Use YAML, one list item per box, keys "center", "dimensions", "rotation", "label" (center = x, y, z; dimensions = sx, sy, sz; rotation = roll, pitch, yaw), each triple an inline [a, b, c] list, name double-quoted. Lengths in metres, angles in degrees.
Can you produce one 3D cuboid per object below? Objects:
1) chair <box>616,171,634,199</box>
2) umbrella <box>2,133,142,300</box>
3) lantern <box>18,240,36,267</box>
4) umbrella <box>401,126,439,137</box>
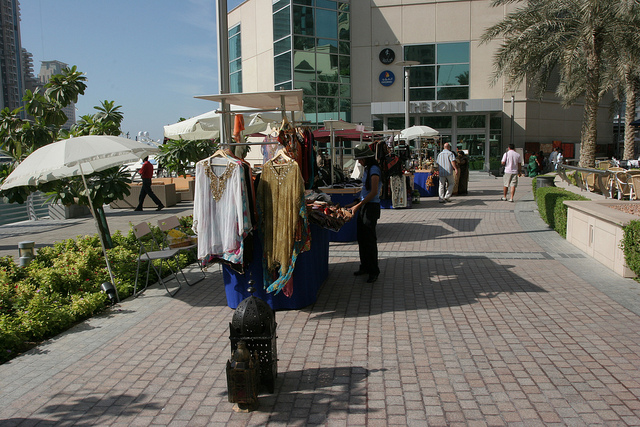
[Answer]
- center: [9.075, -0.797, 14.782]
  dimensions: [0.491, 0.821, 1.132]
  rotation: [5, 15, 28]
  label: "chair"
- center: [-4.525, -0.030, 9.344]
  dimensions: [1.995, 2.863, 2.467]
  rotation: [-8, 15, -26]
  label: "umbrella"
- center: [-6.330, 0.888, 10.676]
  dimensions: [0.310, 0.530, 0.328]
  rotation: [0, 6, -4]
  label: "lantern"
- center: [4.076, -3.360, 20.680]
  dimensions: [1.569, 0.467, 1.006]
  rotation: [-12, 17, -35]
  label: "umbrella"
